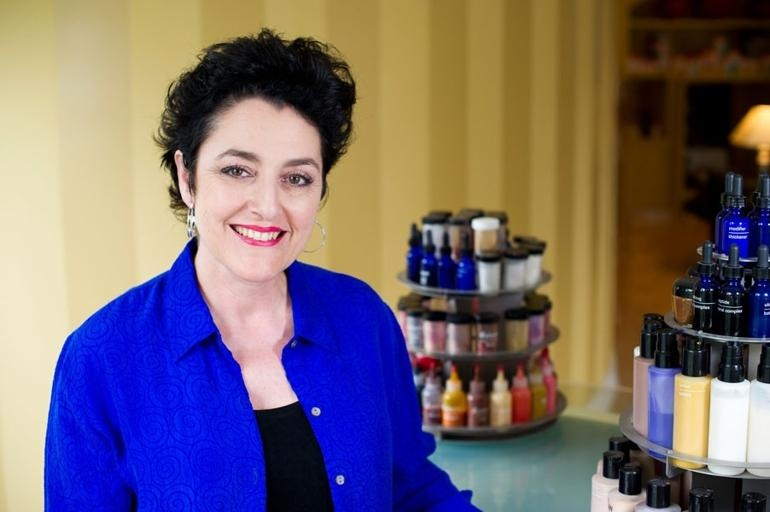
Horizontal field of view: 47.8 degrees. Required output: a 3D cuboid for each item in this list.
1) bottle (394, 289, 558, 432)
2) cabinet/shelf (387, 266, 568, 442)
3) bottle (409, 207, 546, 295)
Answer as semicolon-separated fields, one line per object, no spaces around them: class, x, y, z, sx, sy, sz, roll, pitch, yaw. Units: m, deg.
bottle;0.280;0.289;2.838;0.458;0.325;0.455;-3;3;0
cabinet/shelf;0.346;0.277;2.840;0.504;0.435;0.509;0;5;37
bottle;0.274;-0.013;2.760;0.312;0.158;0.314;0;5;0
